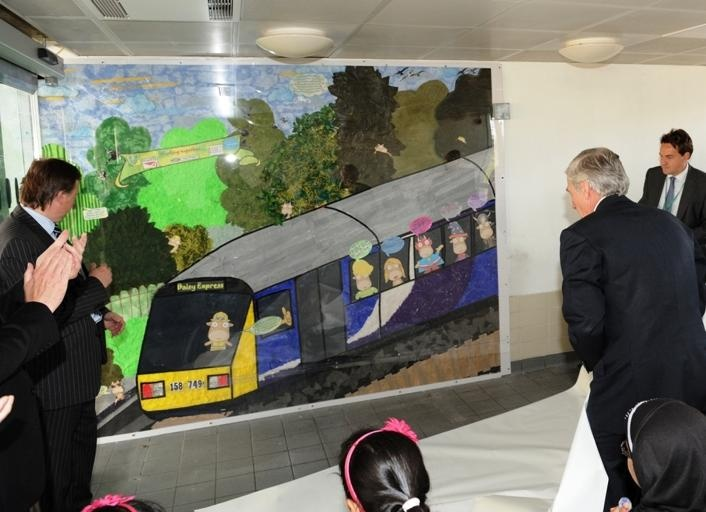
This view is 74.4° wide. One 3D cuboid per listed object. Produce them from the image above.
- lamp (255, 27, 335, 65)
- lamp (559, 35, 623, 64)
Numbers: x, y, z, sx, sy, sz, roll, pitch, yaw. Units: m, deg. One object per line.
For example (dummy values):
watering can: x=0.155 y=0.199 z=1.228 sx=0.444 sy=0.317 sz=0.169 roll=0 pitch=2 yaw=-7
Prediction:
lamp: x=-0.420 y=-1.586 z=3.494 sx=0.535 sy=0.130 sz=0.645 roll=-2 pitch=13 yaw=-2
lamp: x=1.992 y=-1.756 z=3.924 sx=0.512 sy=0.135 sz=0.364 roll=-13 pitch=17 yaw=-39
